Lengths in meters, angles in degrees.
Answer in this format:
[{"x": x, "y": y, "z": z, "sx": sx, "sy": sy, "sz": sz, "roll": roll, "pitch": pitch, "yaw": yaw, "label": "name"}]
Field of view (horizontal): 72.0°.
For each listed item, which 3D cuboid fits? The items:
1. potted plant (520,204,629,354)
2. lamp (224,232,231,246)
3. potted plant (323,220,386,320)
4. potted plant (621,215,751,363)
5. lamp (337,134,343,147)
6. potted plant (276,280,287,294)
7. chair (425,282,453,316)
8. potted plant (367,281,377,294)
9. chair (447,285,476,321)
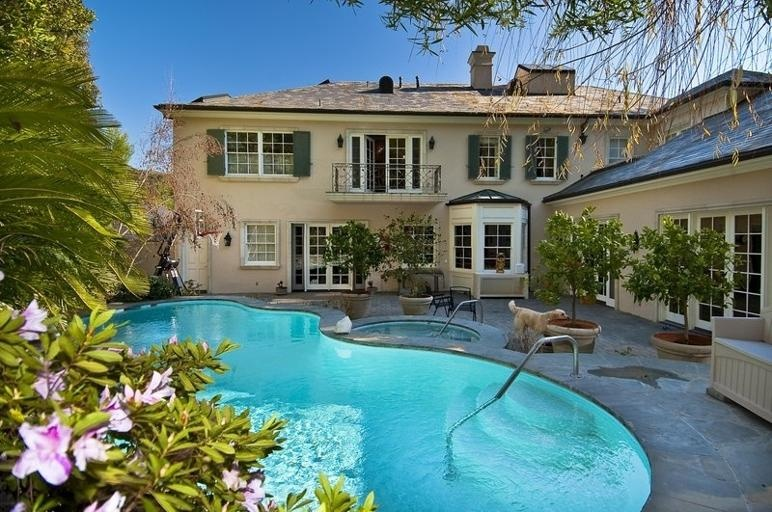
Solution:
[{"x": 3.119, "y": 0.269, "z": 8.759, "sx": 1.468, "sy": 2.027, "sz": 1.419, "roll": -24, "pitch": 31, "yaw": -38, "label": "potted plant"}, {"x": -4.667, "y": -0.457, "z": 15.416, "sx": 0.224, "sy": 0.408, "sz": 0.124, "roll": -15, "pitch": 16, "yaw": -33, "label": "lamp"}, {"x": -0.742, "y": 0.247, "z": 12.465, "sx": 1.208, "sy": 2.522, "sz": 1.617, "roll": -7, "pitch": 10, "yaw": -38, "label": "potted plant"}, {"x": 4.462, "y": 0.580, "z": 8.008, "sx": 1.352, "sy": 2.111, "sz": 1.370, "roll": 1, "pitch": -2, "yaw": 22, "label": "potted plant"}, {"x": -1.401, "y": -3.363, "z": 15.680, "sx": 0.186, "sy": 0.356, "sz": 0.137, "roll": -5, "pitch": 13, "yaw": 5, "label": "lamp"}, {"x": -3.143, "y": 0.943, "z": 15.567, "sx": 0.304, "sy": 0.323, "sz": 0.422, "roll": -9, "pitch": 14, "yaw": -11, "label": "potted plant"}, {"x": 1.277, "y": 1.130, "z": 12.795, "sx": 0.566, "sy": 0.795, "sz": 0.509, "roll": -1, "pitch": 0, "yaw": 4, "label": "chair"}, {"x": -0.493, "y": 0.960, "z": 15.917, "sx": 0.318, "sy": 0.547, "sz": 0.328, "roll": -1, "pitch": -4, "yaw": -5, "label": "potted plant"}, {"x": 1.842, "y": 1.101, "z": 13.219, "sx": 0.747, "sy": 1.099, "sz": 0.603, "roll": -2, "pitch": 0, "yaw": 6, "label": "chair"}]
